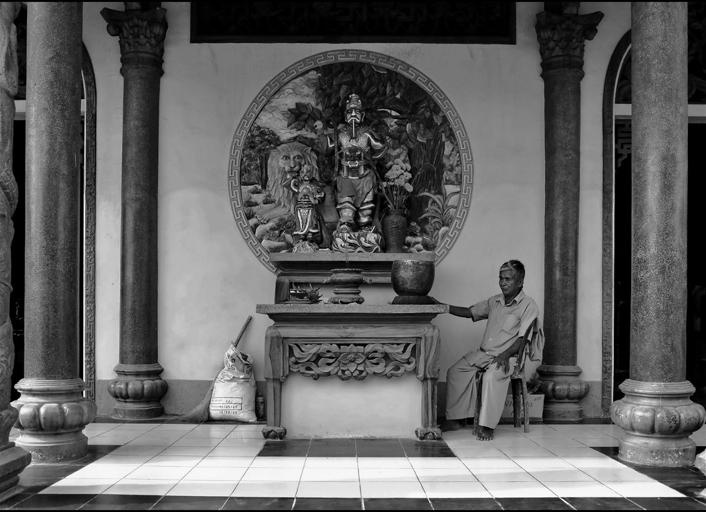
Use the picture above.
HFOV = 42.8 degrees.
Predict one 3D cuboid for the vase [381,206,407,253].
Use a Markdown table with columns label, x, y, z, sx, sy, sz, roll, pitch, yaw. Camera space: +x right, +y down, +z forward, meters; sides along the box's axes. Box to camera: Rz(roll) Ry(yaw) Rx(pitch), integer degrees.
| label | x | y | z | sx | sy | sz | roll | pitch | yaw |
| --- | --- | --- | --- | --- | --- | --- | --- | --- | --- |
| vase | 0.442 | -0.249 | 9.635 | 0.256 | 0.405 | 0.172 | -1 | 7 | -9 |

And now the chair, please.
| label | x | y | z | sx | sy | sz | roll | pitch | yaw |
| --- | --- | --- | --- | --- | --- | --- | --- | --- | --- |
| chair | 1.573 | 1.182 | 8.742 | 0.409 | 0.616 | 0.442 | 11 | 12 | -22 |

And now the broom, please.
| label | x | y | z | sx | sy | sz | roll | pitch | yaw |
| --- | --- | --- | --- | --- | --- | --- | --- | --- | --- |
| broom | -1.419 | 1.161 | 9.461 | 0.786 | 0.995 | 0.672 | 0 | 7 | -6 |
